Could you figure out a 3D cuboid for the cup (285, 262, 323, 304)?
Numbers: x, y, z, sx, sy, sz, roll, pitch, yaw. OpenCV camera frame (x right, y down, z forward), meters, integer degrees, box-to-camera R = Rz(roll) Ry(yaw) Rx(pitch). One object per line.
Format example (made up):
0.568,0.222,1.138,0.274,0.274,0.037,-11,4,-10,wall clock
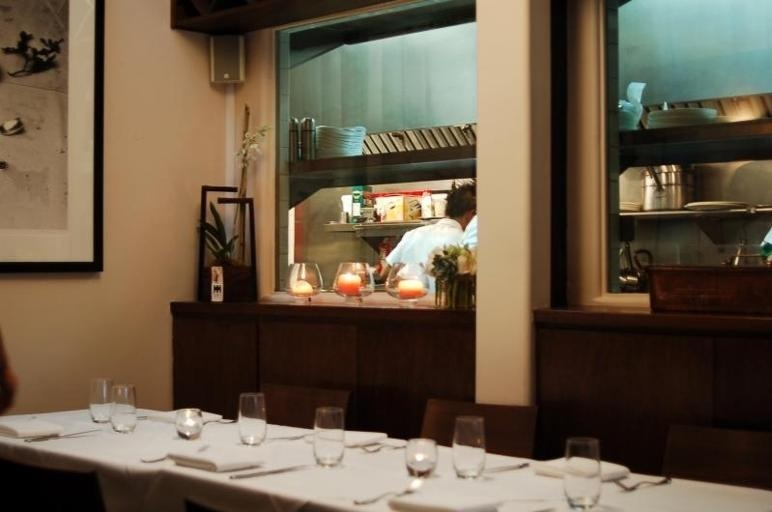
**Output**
-0.470,0.151,3.796,0.212,0.246,0.204,2,-5,0,cup

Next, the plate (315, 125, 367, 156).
-0.272,-0.705,4.058,0.229,0.154,0.227,0,-2,-2,plate

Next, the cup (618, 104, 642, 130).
1.209,-0.696,3.349,0.128,0.129,0.108,2,-4,-10,cup

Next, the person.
0.165,-0.087,3.636,0.619,1.010,0.365,1,-3,45,person

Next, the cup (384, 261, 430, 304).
0.092,0.142,3.446,0.203,0.187,0.201,-1,-1,0,cup

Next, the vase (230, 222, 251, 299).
-0.886,0.037,4.074,0.129,0.459,0.358,-1,3,-13,vase

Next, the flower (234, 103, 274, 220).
-0.862,-0.605,4.188,0.261,0.743,0.138,1,4,28,flower

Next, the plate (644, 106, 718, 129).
1.435,-0.670,3.209,0.318,0.088,0.030,1,3,30,plate

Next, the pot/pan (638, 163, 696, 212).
1.367,-0.320,3.219,0.219,0.188,0.214,2,-3,-39,pot/pan

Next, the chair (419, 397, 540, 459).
0.390,0.702,2.745,0.468,0.300,0.267,7,-14,-21,chair

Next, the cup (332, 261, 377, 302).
-0.143,0.135,3.608,0.219,0.205,0.195,2,-2,33,cup

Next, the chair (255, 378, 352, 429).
-0.410,0.717,3.192,0.357,0.241,0.197,1,-1,20,chair

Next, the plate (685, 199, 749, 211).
1.556,-0.236,3.106,0.268,0.043,0.017,0,3,19,plate
